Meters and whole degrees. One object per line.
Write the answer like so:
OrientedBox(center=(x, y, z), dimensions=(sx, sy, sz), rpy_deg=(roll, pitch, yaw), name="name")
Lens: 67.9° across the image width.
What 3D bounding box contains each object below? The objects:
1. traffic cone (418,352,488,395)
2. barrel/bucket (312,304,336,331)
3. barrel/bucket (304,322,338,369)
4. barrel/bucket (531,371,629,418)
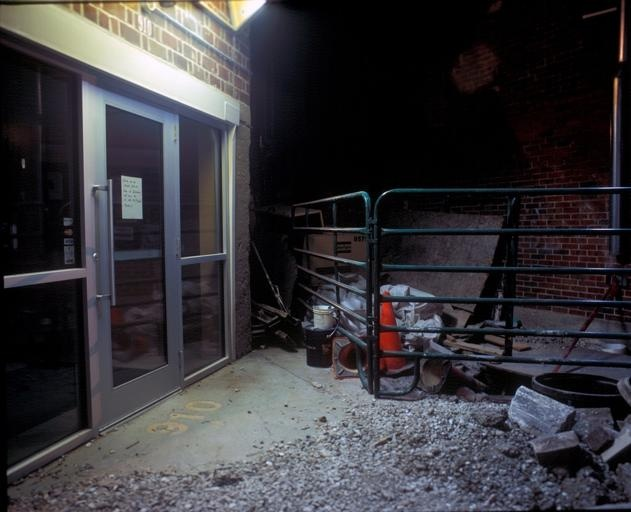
OrientedBox(center=(1.298, 1.109, 4.424), dimensions=(0.534, 0.220, 0.339), rpy_deg=(7, 7, -34), name="traffic cone")
OrientedBox(center=(0.107, 0.714, 5.365), dimensions=(0.260, 0.212, 0.246), rpy_deg=(0, -1, 0), name="barrel/bucket")
OrientedBox(center=(0.063, 1.036, 5.350), dimensions=(0.438, 0.404, 0.421), rpy_deg=(0, 0, 0), name="barrel/bucket")
OrientedBox(center=(2.225, 1.129, 3.894), dimensions=(0.445, 0.418, 0.406), rpy_deg=(0, 0, 0), name="barrel/bucket")
